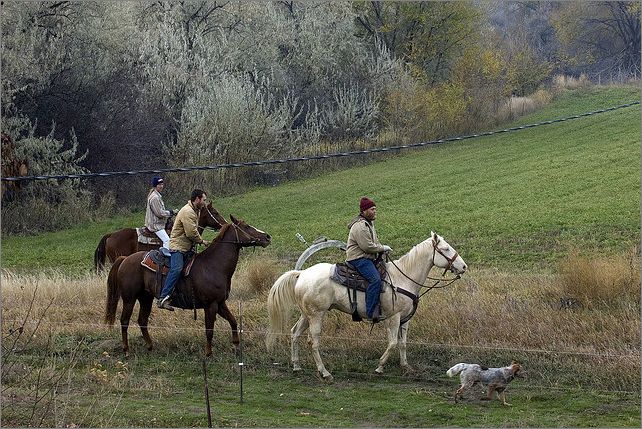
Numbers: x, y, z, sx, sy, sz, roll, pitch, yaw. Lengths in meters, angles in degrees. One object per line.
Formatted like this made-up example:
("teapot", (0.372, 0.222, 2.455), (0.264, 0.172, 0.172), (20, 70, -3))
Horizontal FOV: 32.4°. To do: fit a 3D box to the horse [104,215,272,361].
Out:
("horse", (-6.117, 3.307, 49.138), (7.210, 6.646, 1.917), (1, 9, 3))
